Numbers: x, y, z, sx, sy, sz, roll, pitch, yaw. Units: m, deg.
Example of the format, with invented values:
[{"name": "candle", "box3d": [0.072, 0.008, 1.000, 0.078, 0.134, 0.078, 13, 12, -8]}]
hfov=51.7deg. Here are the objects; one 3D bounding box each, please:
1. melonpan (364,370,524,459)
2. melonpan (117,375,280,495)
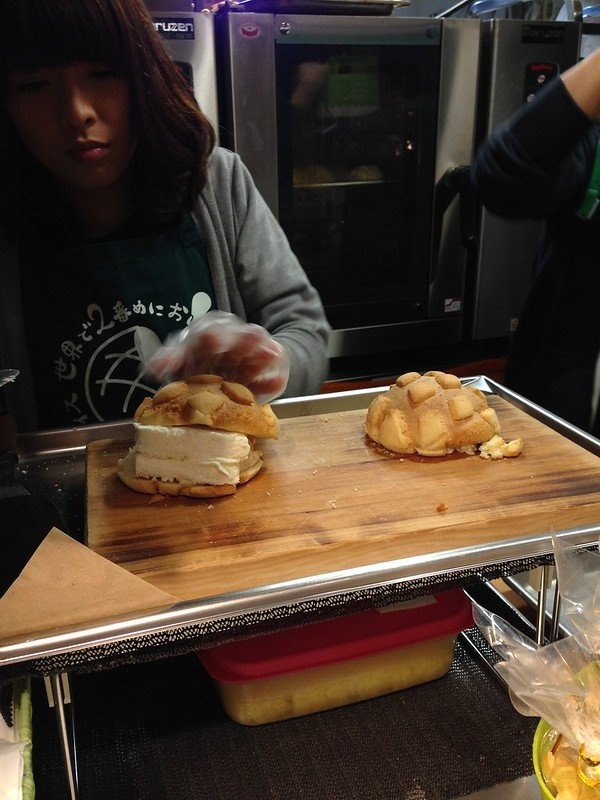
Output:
[{"name": "melonpan", "box3d": [0.200, -0.001, 0.889, 0.135, 0.059, 0.163, -12, 17, -27]}, {"name": "melonpan", "box3d": [-0.126, 0.013, 0.789, 0.167, 0.099, 0.163, 13, 18, 28]}]
